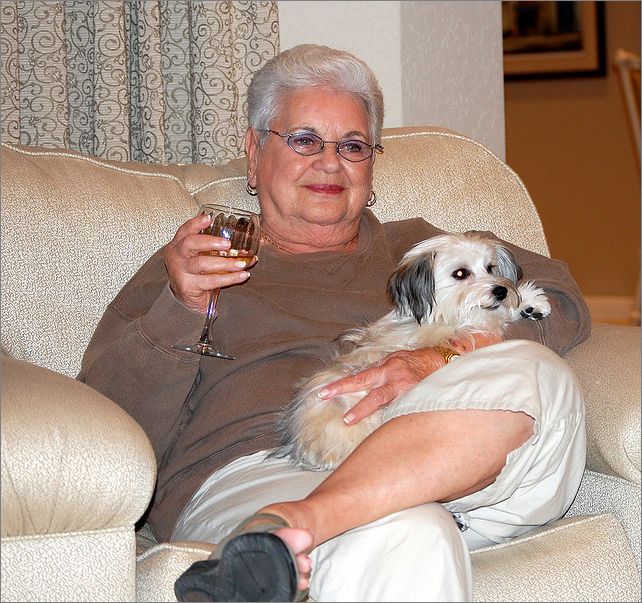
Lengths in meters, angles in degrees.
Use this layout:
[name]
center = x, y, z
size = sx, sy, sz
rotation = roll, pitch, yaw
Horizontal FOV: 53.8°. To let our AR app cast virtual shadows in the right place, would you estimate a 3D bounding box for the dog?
[dog]
center = 0.228, 0.107, 2.045
size = 0.903, 0.380, 0.355
rotation = -32, 33, 8
